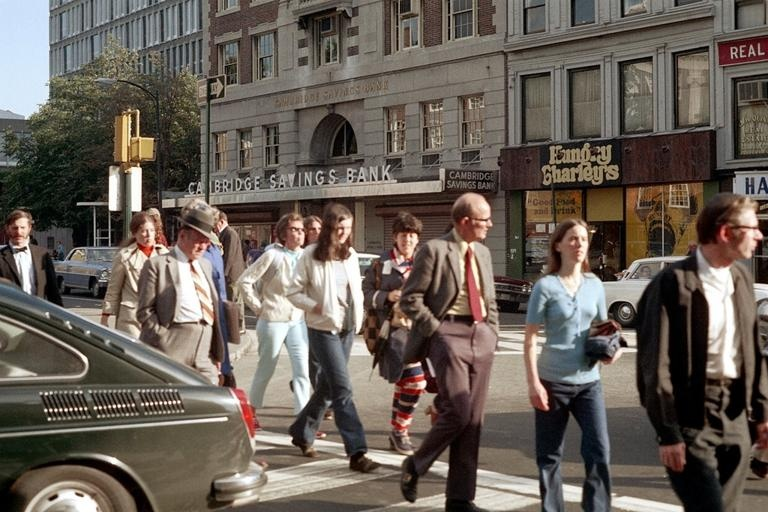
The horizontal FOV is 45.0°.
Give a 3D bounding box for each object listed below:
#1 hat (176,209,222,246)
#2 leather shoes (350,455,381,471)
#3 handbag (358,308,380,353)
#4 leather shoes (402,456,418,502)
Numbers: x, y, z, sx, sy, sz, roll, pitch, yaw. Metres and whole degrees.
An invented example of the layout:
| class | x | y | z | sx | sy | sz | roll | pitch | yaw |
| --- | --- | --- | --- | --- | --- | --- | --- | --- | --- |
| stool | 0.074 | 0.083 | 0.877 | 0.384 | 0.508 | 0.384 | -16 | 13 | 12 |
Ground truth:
| class | x | y | z | sx | sy | sz | roll | pitch | yaw |
| --- | --- | --- | --- | --- | --- | --- | --- | --- | --- |
| hat | -1.747 | -0.283 | 8.548 | 0.291 | 0.138 | 0.321 | 31 | -9 | -40 |
| leather shoes | -0.196 | 1.960 | 8.909 | 0.305 | 0.147 | 0.123 | -2 | 3 | 19 |
| handbag | -0.151 | 0.777 | 9.859 | 0.150 | 0.457 | 0.182 | 1 | -38 | 9 |
| leather shoes | 0.212 | 1.926 | 8.084 | 0.141 | 0.377 | 0.164 | -5 | 2 | -43 |
